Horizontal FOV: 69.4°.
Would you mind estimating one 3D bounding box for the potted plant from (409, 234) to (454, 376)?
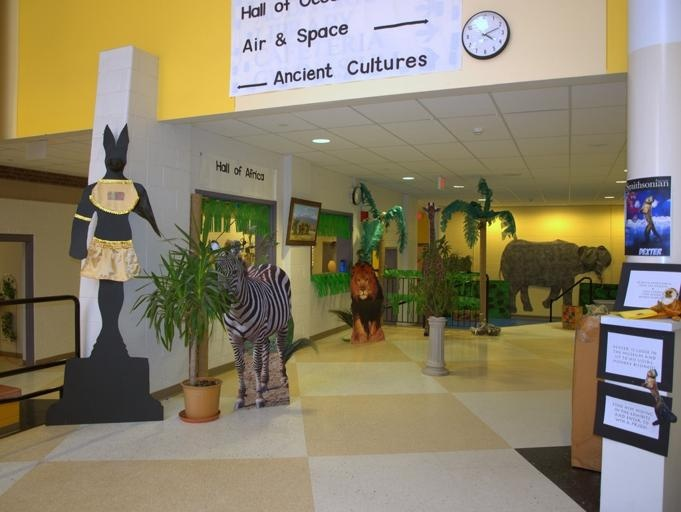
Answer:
[{"bbox_3d":[1.573,0.682,8.159,0.611,2.465,0.696,4,-8,2],"label":"potted plant"}]

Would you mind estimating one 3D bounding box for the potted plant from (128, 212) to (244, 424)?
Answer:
[{"bbox_3d":[-1.663,0.719,5.609,1.191,2.193,1.146,-2,-1,17],"label":"potted plant"}]

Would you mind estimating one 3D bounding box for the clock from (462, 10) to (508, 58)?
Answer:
[{"bbox_3d":[1.433,-2.164,4.820,0.462,0.458,0.055,1,3,22],"label":"clock"}]

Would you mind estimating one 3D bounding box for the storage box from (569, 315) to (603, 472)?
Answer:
[{"bbox_3d":[2.252,1.262,4.636,0.331,1.342,0.418,4,5,19],"label":"storage box"}]
